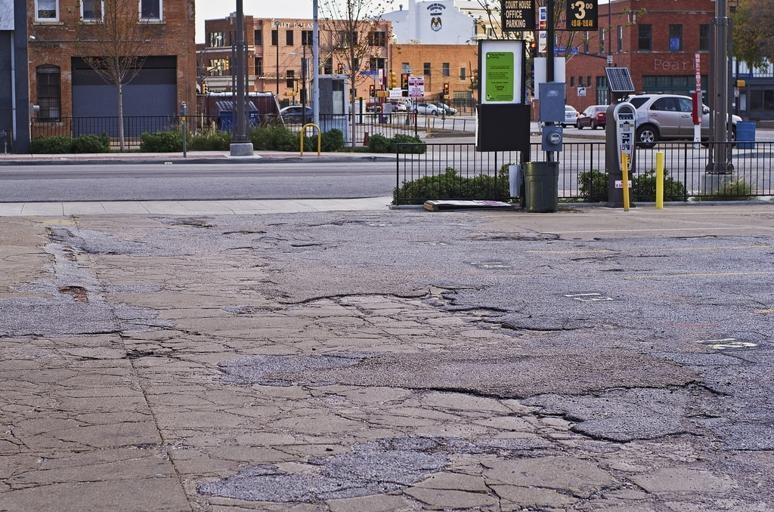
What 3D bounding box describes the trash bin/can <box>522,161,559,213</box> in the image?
[{"bbox_3d":[3.148,-1.415,22.093,0.916,1.006,0.703,-1,-1,6],"label":"trash bin/can"}]
